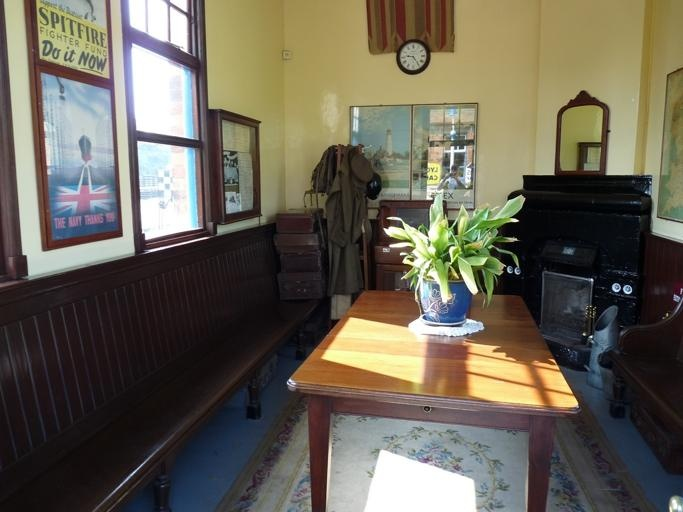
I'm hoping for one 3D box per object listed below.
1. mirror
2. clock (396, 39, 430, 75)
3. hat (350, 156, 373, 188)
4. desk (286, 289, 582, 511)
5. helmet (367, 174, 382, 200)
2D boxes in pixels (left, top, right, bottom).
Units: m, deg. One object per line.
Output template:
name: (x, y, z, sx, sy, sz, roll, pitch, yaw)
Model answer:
mirror: (2.458, -1.253, 4.991, 0.142, 0.818, 0.594, -7, 13, -22)
clock: (0.842, -2.317, 5.649, 0.356, 0.404, 0.044, 0, 11, 11)
hat: (0.214, -0.915, 5.260, 0.233, 0.331, 0.148, -2, 12, -1)
desk: (0.518, 0.815, 2.872, 1.307, 0.768, 1.278, 0, 13, 11)
helmet: (0.384, -0.806, 5.659, 0.184, 0.283, 0.276, 0, -6, -2)
